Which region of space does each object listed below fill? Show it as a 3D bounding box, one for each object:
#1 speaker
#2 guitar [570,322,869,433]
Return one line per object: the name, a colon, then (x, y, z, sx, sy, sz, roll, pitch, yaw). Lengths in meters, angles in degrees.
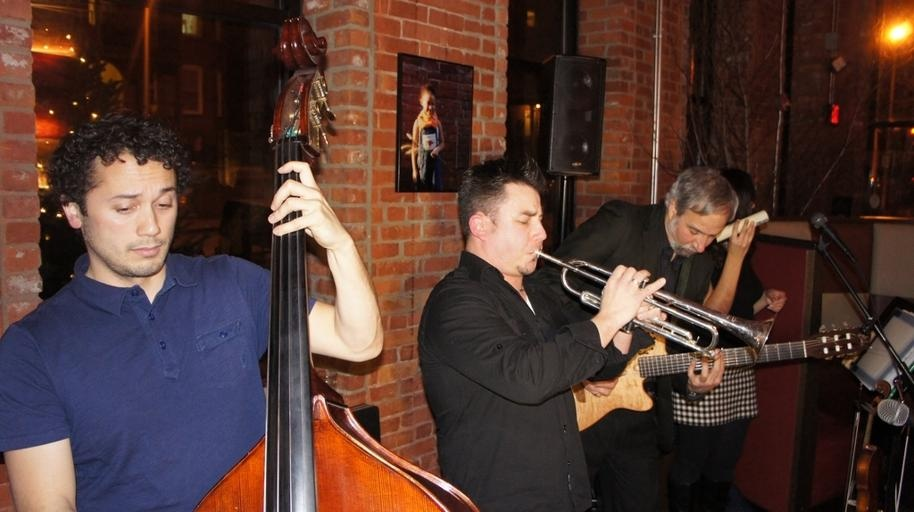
speaker: (0.968, -1.111, 5.474, 0.451, 1.013, 0.647, 2, 1, 10)
guitar: (1.717, 0.806, 4.553, 1.120, 0.369, 0.100, -5, 17, -6)
